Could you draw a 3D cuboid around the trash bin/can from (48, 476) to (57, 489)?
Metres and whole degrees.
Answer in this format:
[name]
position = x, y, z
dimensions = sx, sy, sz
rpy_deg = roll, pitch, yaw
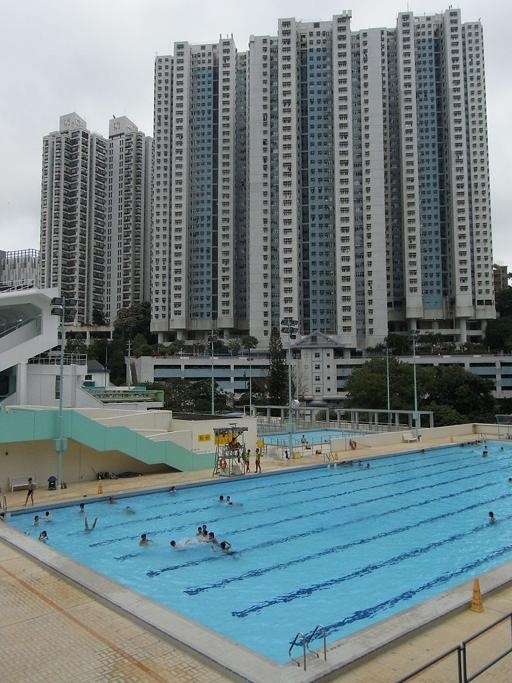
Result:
[trash bin/can]
position = -7.517, 5.326, 27.299
dimensions = 0.402, 0.504, 0.441
rpy_deg = 3, -7, -17

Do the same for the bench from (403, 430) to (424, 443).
[bench]
position = 9.652, 6.024, 45.818
dimensions = 0.851, 0.503, 0.799
rpy_deg = -2, 3, -29

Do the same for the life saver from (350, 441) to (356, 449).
[life saver]
position = 5.390, 5.887, 41.282
dimensions = 0.238, 0.393, 0.438
rpy_deg = -13, -7, 39

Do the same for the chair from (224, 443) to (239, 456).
[chair]
position = -1.087, 4.833, 32.492
dimensions = 0.642, 0.576, 0.530
rpy_deg = 1, -4, 19
